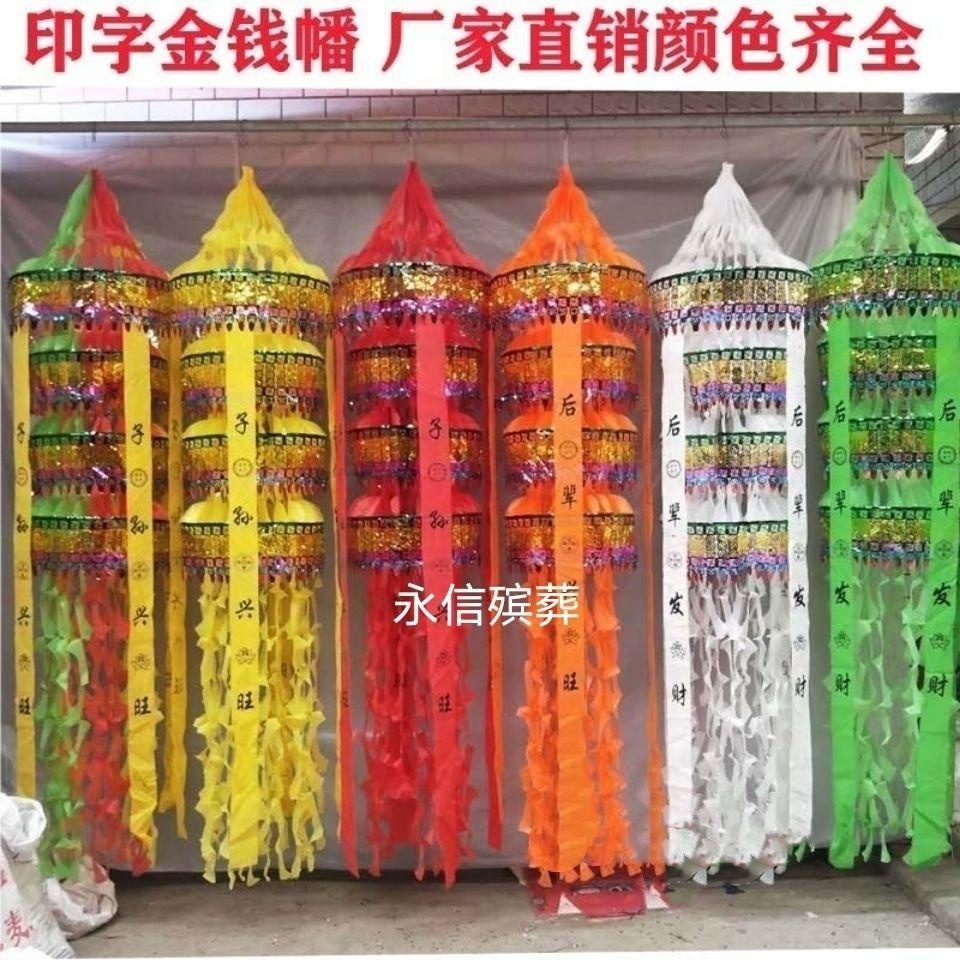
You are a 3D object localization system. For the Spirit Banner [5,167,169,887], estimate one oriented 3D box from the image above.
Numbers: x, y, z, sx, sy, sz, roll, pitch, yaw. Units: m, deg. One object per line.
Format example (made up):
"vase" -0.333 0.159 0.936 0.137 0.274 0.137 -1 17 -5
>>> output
"Spirit Banner" -1.055 0.126 5.256 0.449 1.924 0.322 -2 -3 -13

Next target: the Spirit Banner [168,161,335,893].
"Spirit Banner" -0.595 0.126 5.244 0.427 1.942 0.336 -2 -3 -8

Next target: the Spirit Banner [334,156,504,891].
"Spirit Banner" -0.178 0.129 5.276 0.471 1.983 0.415 -3 -3 -1

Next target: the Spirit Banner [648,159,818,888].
"Spirit Banner" 0.695 0.129 5.249 0.464 1.977 0.285 -3 -3 5
